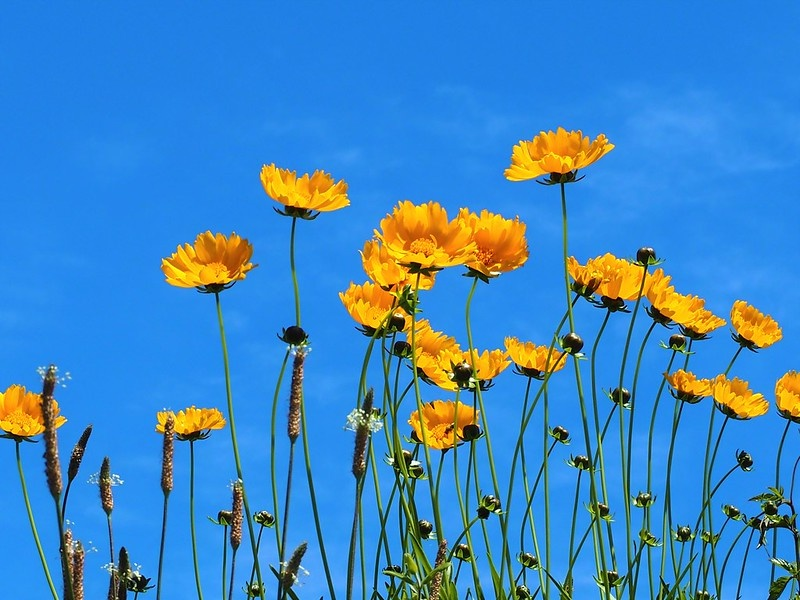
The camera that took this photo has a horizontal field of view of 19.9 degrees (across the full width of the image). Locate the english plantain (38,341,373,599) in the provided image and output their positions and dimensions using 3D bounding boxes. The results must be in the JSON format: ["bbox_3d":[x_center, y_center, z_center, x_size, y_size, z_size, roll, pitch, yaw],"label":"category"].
[{"bbox_3d":[-1.157,0.655,12.387,1.806,2.095,1.824,2,-9,-10],"label":"english plantain"}]

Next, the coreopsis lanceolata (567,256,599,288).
[{"bbox_3d":[0.988,-0.099,12.371,0.179,0.098,0.178,11,7,-30],"label":"coreopsis lanceolata"}]

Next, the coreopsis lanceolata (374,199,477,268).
[{"bbox_3d":[0.148,-0.307,12.657,0.512,0.421,0.223,-5,-20,2],"label":"coreopsis lanceolata"}]

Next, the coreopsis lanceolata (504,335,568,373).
[{"bbox_3d":[0.723,0.331,11.905,0.327,0.139,0.335,23,7,18],"label":"coreopsis lanceolata"}]

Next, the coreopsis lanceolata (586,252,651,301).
[{"bbox_3d":[1.263,-0.116,13.585,0.247,0.129,0.289,0,15,-8],"label":"coreopsis lanceolata"}]

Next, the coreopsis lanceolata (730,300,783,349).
[{"bbox_3d":[2.159,0.163,14.124,0.292,0.150,0.272,-17,3,-8],"label":"coreopsis lanceolata"}]

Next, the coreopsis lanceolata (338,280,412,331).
[{"bbox_3d":[-0.163,0.100,13.037,0.420,0.177,0.415,-3,12,-32],"label":"coreopsis lanceolata"}]

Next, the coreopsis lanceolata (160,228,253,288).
[{"bbox_3d":[-1.086,-0.125,12.929,0.528,0.270,0.587,-10,-15,-4],"label":"coreopsis lanceolata"}]

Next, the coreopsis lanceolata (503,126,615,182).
[{"bbox_3d":[0.917,-0.779,13.278,0.607,0.299,0.651,0,-5,-16],"label":"coreopsis lanceolata"}]
